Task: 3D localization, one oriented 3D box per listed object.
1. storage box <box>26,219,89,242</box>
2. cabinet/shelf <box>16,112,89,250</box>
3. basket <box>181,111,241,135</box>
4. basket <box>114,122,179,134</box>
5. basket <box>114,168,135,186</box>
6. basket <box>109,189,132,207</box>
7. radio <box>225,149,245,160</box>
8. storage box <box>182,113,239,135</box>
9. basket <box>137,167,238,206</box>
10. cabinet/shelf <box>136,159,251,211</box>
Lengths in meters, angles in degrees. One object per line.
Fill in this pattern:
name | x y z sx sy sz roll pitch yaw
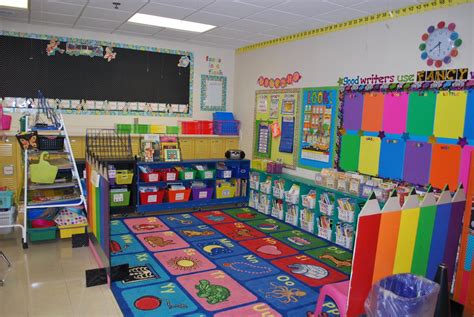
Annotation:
storage box | -2.986 1.176 5.573 0.988 0.326 0.436 1 14 -2
cabinet/shelf | -3.120 0.435 5.666 0.738 1.846 1.964 -3 16 -21
basket | -0.604 -0.776 7.771 1.025 0.372 0.597 -1 3 -17
basket | -1.848 -0.612 7.163 1.343 0.251 0.329 -5 15 -24
basket | -2.233 0.371 6.725 0.301 0.181 0.302 -1 0 42
basket | -2.343 0.745 6.857 0.545 0.373 0.309 0 0 -28
radio | -0.011 -0.088 7.689 0.528 0.233 0.214 -6 16 -26
storage box | -0.598 -0.733 7.783 1.024 0.403 0.598 -1 3 -17
basket | -1.096 0.572 7.376 2.899 0.962 0.722 -1 0 -27
cabinet/shelf | -0.922 0.550 7.607 2.979 1.132 0.690 -3 2 27
